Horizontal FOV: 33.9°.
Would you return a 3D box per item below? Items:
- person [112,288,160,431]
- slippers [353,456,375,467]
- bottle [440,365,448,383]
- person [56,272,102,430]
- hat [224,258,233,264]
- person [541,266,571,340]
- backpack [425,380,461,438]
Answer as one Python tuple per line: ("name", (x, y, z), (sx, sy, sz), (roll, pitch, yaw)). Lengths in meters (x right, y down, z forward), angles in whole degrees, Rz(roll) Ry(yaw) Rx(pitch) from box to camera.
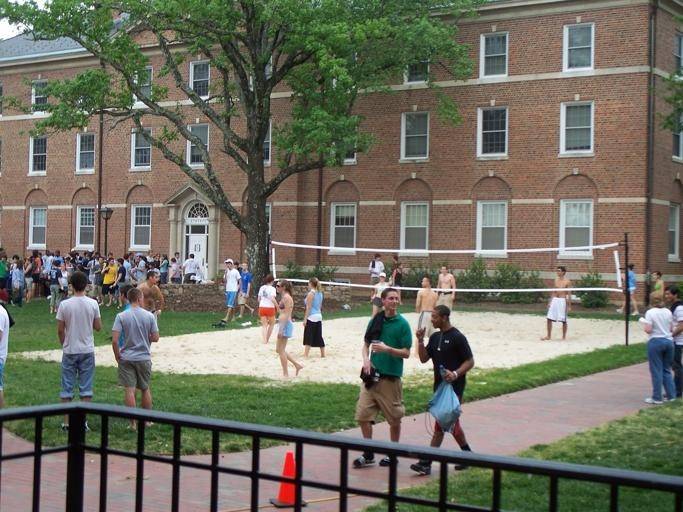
("person", (-4.373, 1.939, 23.960), (0.908, 2.584, 0.689), (0, -4, -2))
("slippers", (0.422, 3.846, 21.026), (0.502, 0.216, 0.196), (1, -5, -7))
("bottle", (2.038, 2.339, 22.401), (0.100, 0.317, 0.267), (1, -4, -13))
("person", (-5.562, 1.675, 23.819), (0.856, 2.793, 0.697), (1, -4, -14))
("hat", (-4.165, 0.147, 41.610), (0.254, 0.197, 0.371), (3, -12, 8))
("person", (6.424, 1.392, 33.482), (0.739, 2.161, 1.260), (-1, -4, 11))
("backpack", (2.055, 2.988, 22.332), (0.610, 1.018, 0.313), (0, -4, 7))
